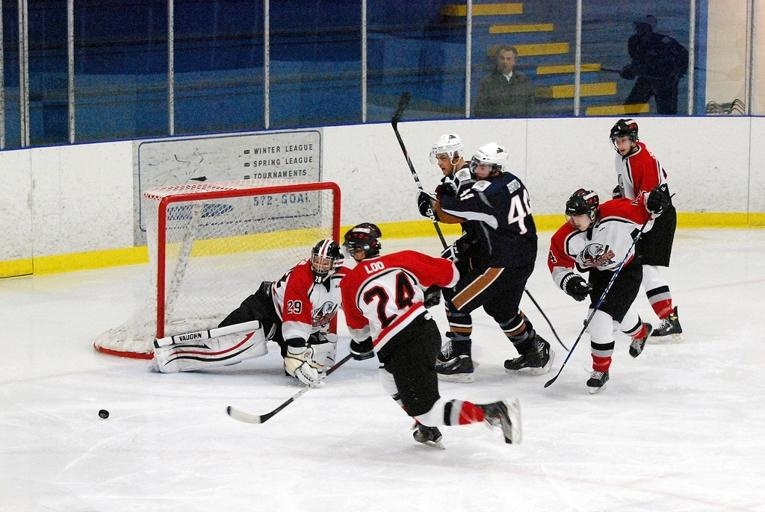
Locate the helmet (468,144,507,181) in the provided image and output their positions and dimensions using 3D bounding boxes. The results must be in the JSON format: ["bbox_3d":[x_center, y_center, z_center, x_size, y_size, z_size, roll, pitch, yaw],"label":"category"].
[{"bbox_3d":[0.620,-0.557,5.875,0.254,0.191,0.198,-8,22,-37],"label":"helmet"}]

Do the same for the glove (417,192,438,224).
[{"bbox_3d":[0.265,-0.311,6.199,0.140,0.180,0.081,-10,-25,-13],"label":"glove"}]

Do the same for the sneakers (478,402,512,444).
[{"bbox_3d":[0.541,0.778,4.807,0.138,0.253,0.091,-15,7,0],"label":"sneakers"}]

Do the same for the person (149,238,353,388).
[{"bbox_3d":[-0.683,0.316,5.920,1.238,0.513,0.884,-1,2,40],"label":"person"}]

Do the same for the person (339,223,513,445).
[{"bbox_3d":[0.235,0.414,5.047,1.049,1.135,0.406,3,7,21],"label":"person"}]

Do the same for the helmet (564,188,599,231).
[{"bbox_3d":[1.173,-0.274,5.844,0.192,0.192,0.233,5,28,36],"label":"helmet"}]

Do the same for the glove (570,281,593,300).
[{"bbox_3d":[1.186,0.216,5.935,0.122,0.124,0.199,2,6,17],"label":"glove"}]

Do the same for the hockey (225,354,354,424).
[{"bbox_3d":[-0.464,0.732,5.262,0.429,0.371,0.775,3,6,21],"label":"hockey"}]

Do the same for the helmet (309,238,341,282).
[{"bbox_3d":[-0.325,0.033,5.764,0.186,0.259,0.142,-2,7,-19],"label":"helmet"}]

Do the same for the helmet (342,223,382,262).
[{"bbox_3d":[-0.097,-0.073,5.177,0.240,0.189,0.166,21,4,-2],"label":"helmet"}]

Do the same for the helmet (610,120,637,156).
[{"bbox_3d":[1.642,-0.812,6.705,0.176,0.247,0.202,1,6,11],"label":"helmet"}]

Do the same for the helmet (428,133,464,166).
[{"bbox_3d":[0.403,-0.690,6.309,0.224,0.134,0.159,-1,10,1],"label":"helmet"}]

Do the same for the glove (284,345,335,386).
[{"bbox_3d":[-0.449,0.653,5.866,0.238,0.131,0.273,23,31,-19],"label":"glove"}]

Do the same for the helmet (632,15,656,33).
[{"bbox_3d":[2.676,-2.383,10.144,0.237,0.162,0.160,12,0,9],"label":"helmet"}]
